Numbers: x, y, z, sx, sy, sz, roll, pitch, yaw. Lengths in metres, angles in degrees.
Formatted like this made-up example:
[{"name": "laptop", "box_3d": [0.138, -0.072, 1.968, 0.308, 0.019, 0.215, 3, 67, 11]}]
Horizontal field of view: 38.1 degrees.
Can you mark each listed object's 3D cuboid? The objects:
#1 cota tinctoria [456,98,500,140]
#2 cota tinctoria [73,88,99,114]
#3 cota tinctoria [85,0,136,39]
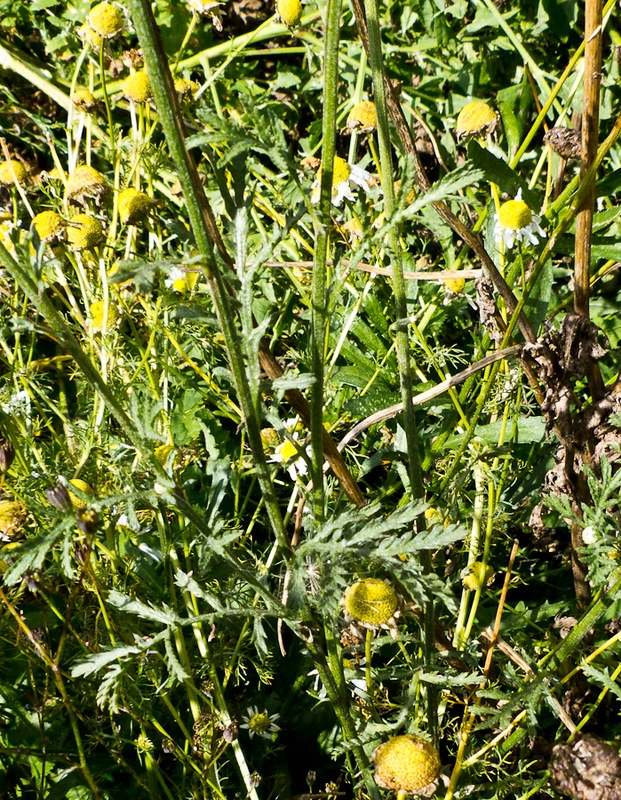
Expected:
[{"name": "cota tinctoria", "box_3d": [0.305, -0.519, 1.642, 0.071, 0.063, 0.131, 6, 58, 8]}, {"name": "cota tinctoria", "box_3d": [-0.502, -0.658, 1.970, 0.065, 0.051, 0.021, 42, 116, 23]}, {"name": "cota tinctoria", "box_3d": [-0.430, -0.810, 1.915, 0.095, 0.049, 0.081, -1, 100, -24]}]
